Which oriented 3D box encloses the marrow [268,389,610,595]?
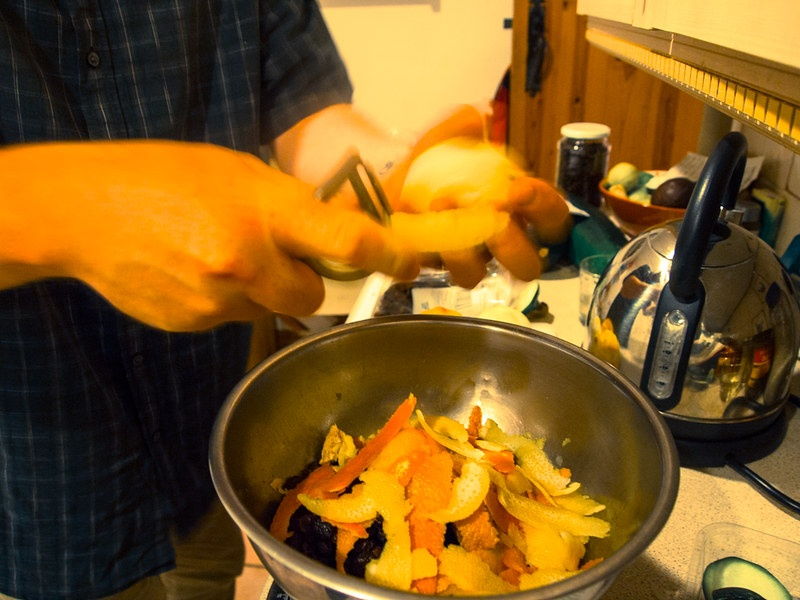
[{"bbox_3d":[0.053,0.324,1.033,0.355,0.127,0.309,10,3,28],"label":"marrow"}]

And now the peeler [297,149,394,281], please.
[{"bbox_3d":[-0.075,-0.155,1.113,0.150,0.204,0.056,-33,38,-23],"label":"peeler"}]

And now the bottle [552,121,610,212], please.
[{"bbox_3d":[0.645,-0.462,2.315,0.181,0.301,0.182,-4,29,2],"label":"bottle"}]

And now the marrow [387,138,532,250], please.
[{"bbox_3d":[0.093,-0.176,1.119,0.185,0.054,0.198,29,75,28],"label":"marrow"}]
